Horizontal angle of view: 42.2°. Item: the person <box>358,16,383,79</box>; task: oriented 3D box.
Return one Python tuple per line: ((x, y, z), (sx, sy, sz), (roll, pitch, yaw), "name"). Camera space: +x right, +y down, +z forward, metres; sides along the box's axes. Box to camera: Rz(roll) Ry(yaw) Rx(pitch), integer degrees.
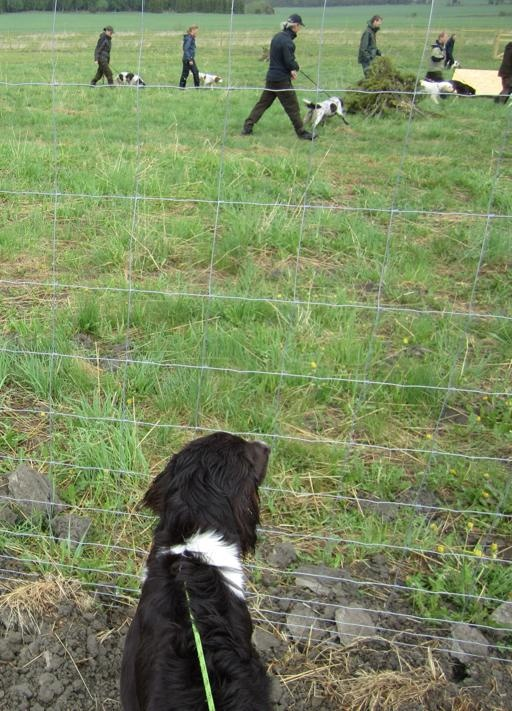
((2.041, -5.560, 11.815), (0.371, 1.032, 1.654), (10, 23, 5), "person")
